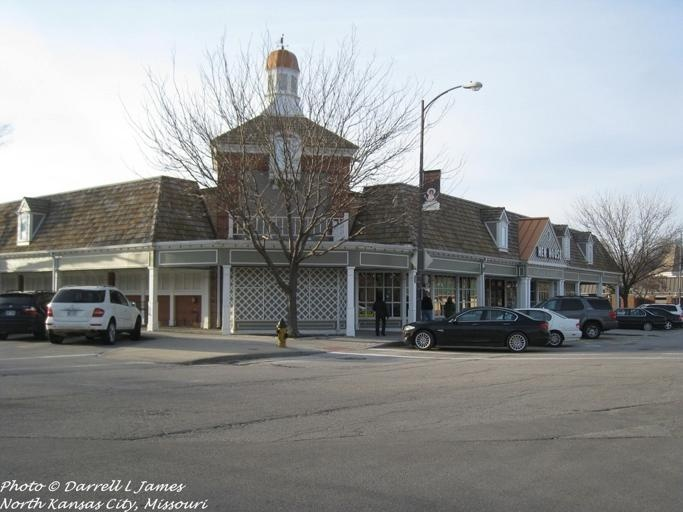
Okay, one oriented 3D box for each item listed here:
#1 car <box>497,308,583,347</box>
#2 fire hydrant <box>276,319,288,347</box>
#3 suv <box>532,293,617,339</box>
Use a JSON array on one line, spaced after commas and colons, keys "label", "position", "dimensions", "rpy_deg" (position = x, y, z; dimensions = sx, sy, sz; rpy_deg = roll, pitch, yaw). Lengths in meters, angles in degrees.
[{"label": "car", "position": [7.637, 2.496, 27.008], "dimensions": [2.857, 1.040, 1.229], "rpy_deg": [0, -3, 4]}, {"label": "fire hydrant", "position": [-1.875, 2.432, 24.046], "dimensions": [0.299, 0.925, 0.982], "rpy_deg": [1, -8, -4]}, {"label": "suv", "position": [9.783, 2.461, 32.225], "dimensions": [3.249, 1.487, 1.559], "rpy_deg": [1, -3, 7]}]
